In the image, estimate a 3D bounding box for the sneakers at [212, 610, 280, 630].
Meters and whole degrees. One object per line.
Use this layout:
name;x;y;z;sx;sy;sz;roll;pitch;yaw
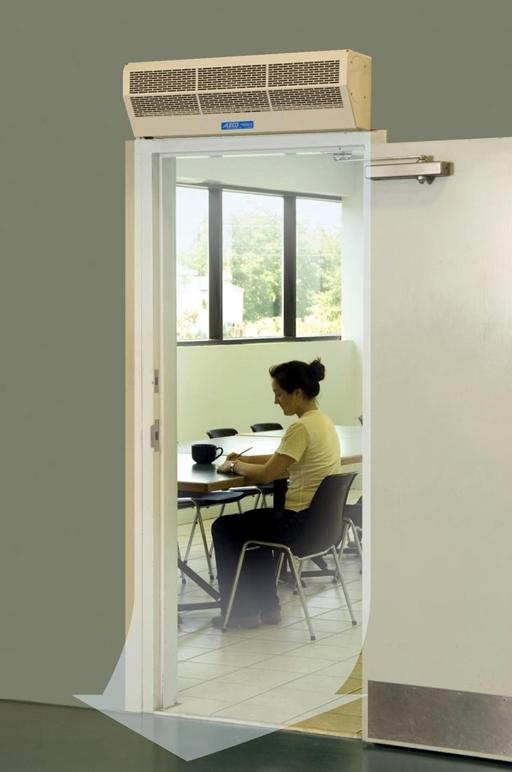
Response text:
sneakers;-0.052;1.237;4.001;0.353;0.134;0.118;1;-4;1

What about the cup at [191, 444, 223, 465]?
cup;-0.280;0.389;4.159;0.106;0.089;0.138;-3;-13;16

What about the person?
person;0.128;0.585;3.904;0.685;1.414;0.579;-1;7;-13
